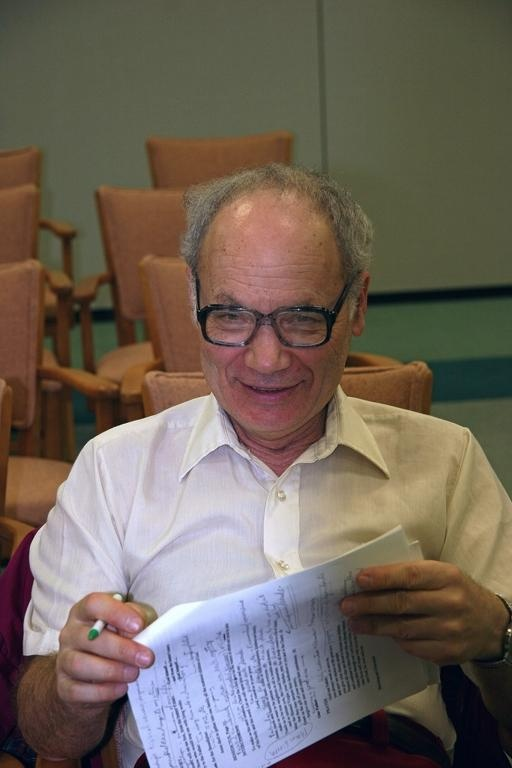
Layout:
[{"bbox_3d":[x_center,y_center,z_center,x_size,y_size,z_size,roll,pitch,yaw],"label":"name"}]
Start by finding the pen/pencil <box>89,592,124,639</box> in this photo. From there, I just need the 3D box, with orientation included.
[{"bbox_3d":[-0.142,0.215,0.635,0.012,0.010,0.058,-14,28,21],"label":"pen/pencil"}]

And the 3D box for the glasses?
[{"bbox_3d":[0.011,-0.067,0.761,0.157,0.058,0.038,4,40,2],"label":"glasses"}]
